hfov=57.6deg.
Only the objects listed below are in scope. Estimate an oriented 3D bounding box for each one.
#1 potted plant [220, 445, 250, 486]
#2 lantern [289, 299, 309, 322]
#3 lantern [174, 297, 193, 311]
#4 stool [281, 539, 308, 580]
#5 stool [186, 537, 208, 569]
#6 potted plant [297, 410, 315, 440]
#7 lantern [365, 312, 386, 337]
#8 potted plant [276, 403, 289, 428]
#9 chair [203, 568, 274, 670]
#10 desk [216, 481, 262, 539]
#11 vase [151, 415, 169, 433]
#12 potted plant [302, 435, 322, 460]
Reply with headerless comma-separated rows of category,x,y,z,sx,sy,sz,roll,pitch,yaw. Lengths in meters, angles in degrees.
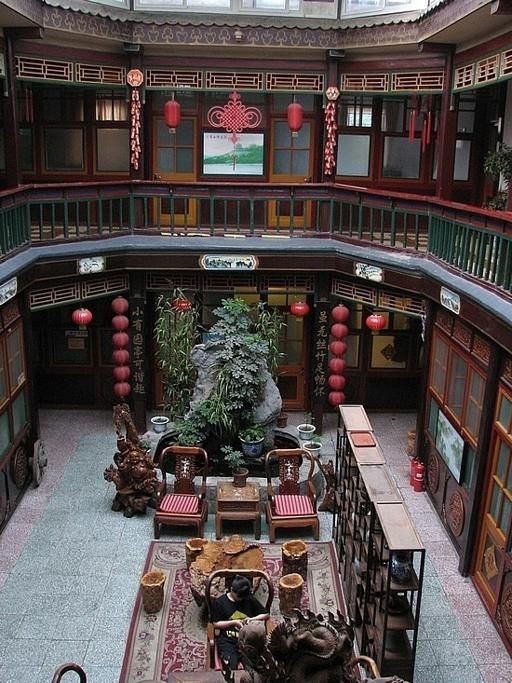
potted plant,-0.249,1.852,6.602,0.457,0.725,0.410,-2,23,1
lantern,0.732,-0.499,7.639,0.334,0.317,0.328,-2,5,-20
lantern,-1.214,-0.604,7.674,0.210,0.146,0.208,-13,20,-41
stool,0.395,2.288,4.859,0.260,0.411,0.266,9,33,15
stool,-0.684,2.270,5.034,0.278,0.305,0.263,-2,18,-19
potted plant,0.854,1.502,8.046,0.256,0.237,0.274,4,20,9
lantern,2.024,-0.298,7.933,0.316,0.378,0.322,2,37,5
potted plant,0.521,1.365,8.434,0.323,0.245,0.314,-6,36,-10
chair,-0.135,2.025,3.304,0.440,0.667,0.511,1,-7,1
desk,-0.239,2.109,5.989,0.459,0.413,0.637,1,25,0
vase,-1.697,1.448,8.167,0.236,0.154,0.238,-6,31,-13
potted plant,0.909,1.728,7.634,0.302,0.222,0.306,-7,35,-5
